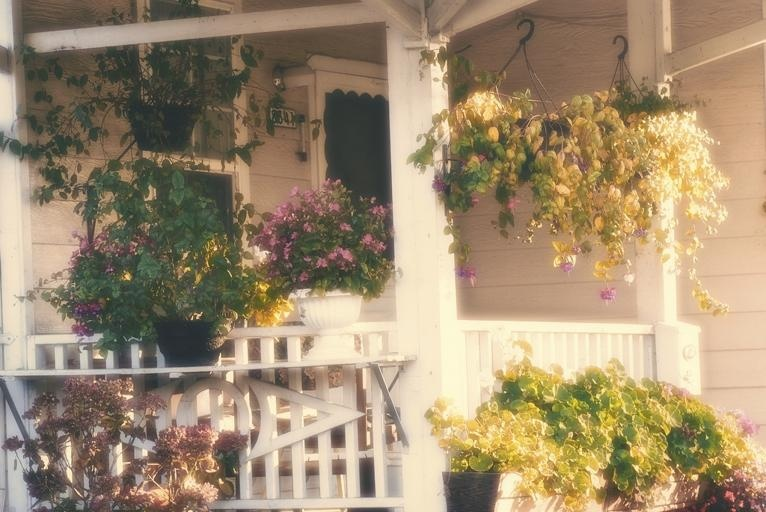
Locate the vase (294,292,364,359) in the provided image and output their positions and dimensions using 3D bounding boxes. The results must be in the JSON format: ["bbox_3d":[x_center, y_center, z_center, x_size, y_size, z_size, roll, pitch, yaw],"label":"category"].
[{"bbox_3d":[-0.377,0.476,12.603,0.477,0.358,0.462,4,-15,-24],"label":"vase"}]

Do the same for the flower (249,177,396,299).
[{"bbox_3d":[-0.414,-0.114,12.502,0.956,0.820,0.208,-1,-6,-1],"label":"flower"}]

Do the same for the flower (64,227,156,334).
[{"bbox_3d":[-1.877,0.192,12.571,0.671,0.643,0.392,7,-2,-31],"label":"flower"}]
